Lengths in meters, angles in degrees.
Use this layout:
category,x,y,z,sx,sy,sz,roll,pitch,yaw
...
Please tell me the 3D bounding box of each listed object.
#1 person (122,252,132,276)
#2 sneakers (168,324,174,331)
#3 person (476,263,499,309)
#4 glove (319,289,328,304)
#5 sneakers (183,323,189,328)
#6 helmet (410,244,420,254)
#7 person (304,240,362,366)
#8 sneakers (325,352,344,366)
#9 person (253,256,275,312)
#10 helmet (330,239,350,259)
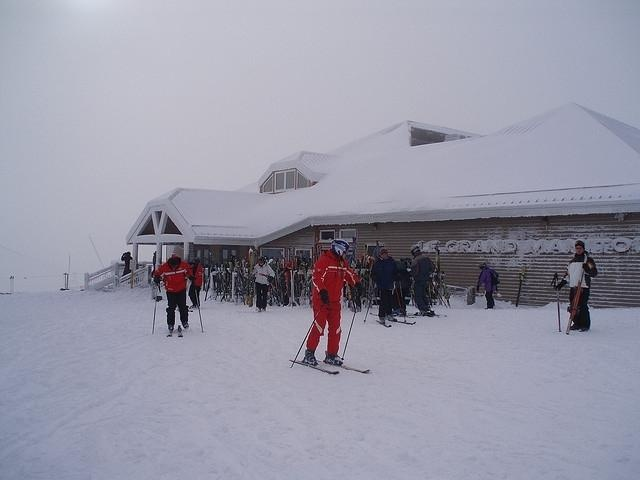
category,x,y,z,sx,sy,sz,roll,pitch,yaw
person,-11.354,1.384,29.075,0.520,1.453,2.947,-2,5,-21
sneakers,-4.025,2.354,13.318,0.130,0.165,0.137,0,-1,-11
person,6.577,1.711,19.318,0.765,1.689,3.124,1,5,18
glove,0.086,1.137,9.862,0.177,0.321,0.217,0,4,0
sneakers,-3.893,2.496,14.335,0.148,0.163,0.155,2,-5,-34
helmet,3.239,0.309,16.916,0.233,0.239,0.311,-24,-23,-51
person,0.190,1.335,10.380,0.738,2.635,1.178,2,5,29
sneakers,0.252,2.484,10.313,0.163,0.240,0.492,0,0,-40
person,-2.249,1.703,19.647,0.703,2.104,1.547,-1,5,-6
helmet,0.428,0.174,10.566,0.338,0.354,0.305,13,6,-8
